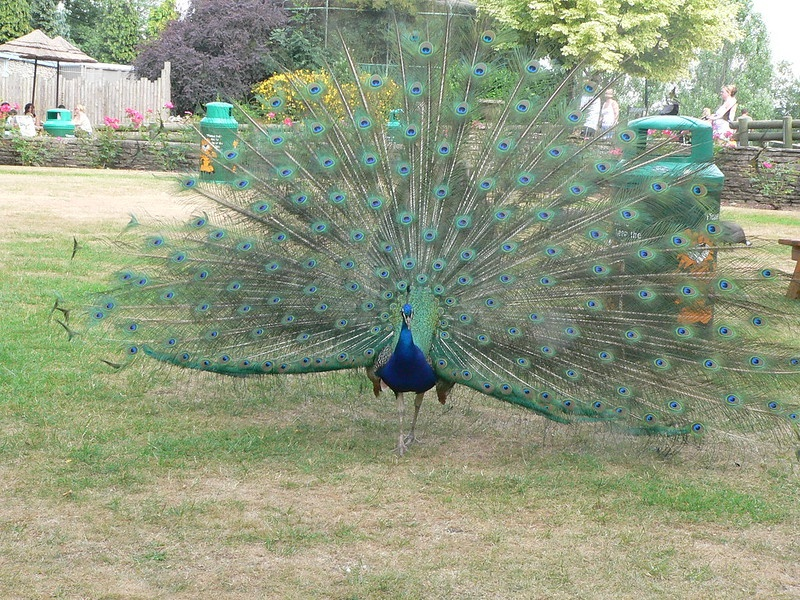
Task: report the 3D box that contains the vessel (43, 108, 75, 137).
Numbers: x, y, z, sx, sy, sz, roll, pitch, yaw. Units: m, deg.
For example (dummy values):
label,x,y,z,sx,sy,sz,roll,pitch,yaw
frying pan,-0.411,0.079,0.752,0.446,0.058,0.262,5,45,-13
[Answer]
label,x,y,z,sx,sy,sz,roll,pitch,yaw
vessel,-8.906,-4.621,23.425,0.918,0.745,0.881,1,3,3

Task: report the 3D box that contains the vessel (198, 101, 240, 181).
label,x,y,z,sx,sy,sz,roll,pitch,yaw
vessel,-1.508,-1.303,7.383,0.396,0.629,0.374,-3,15,-23

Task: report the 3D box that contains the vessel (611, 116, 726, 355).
label,x,y,z,sx,sy,sz,roll,pitch,yaw
vessel,2.097,-0.560,7.075,0.829,1.691,0.655,1,0,9
